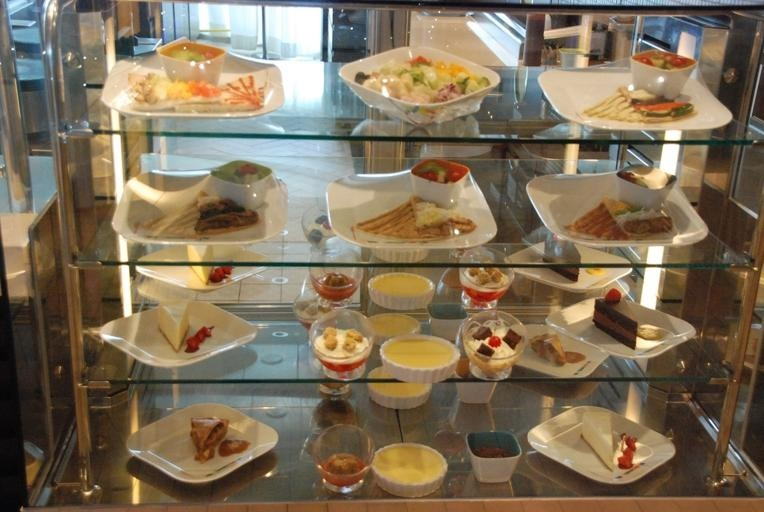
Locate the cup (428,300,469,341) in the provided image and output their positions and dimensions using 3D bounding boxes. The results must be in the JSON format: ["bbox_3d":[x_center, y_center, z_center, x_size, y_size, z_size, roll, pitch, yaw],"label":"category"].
[{"bbox_3d":[0.210,0.212,1.931,0.106,0.124,0.088,1,-67,-2],"label":"cup"}]

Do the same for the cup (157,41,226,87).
[{"bbox_3d":[-0.489,-0.501,1.510,0.154,0.108,0.076,9,-48,7],"label":"cup"}]

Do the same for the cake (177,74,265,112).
[{"bbox_3d":[-0.391,-0.407,1.512,0.141,0.126,0.039,-3,-56,-10],"label":"cake"}]

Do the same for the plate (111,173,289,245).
[{"bbox_3d":[-0.523,-0.117,1.662,0.336,0.269,0.055,0,-54,-10],"label":"plate"}]

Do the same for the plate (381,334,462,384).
[{"bbox_3d":[0.117,0.312,1.785,0.234,0.172,0.146,-9,-38,4],"label":"plate"}]

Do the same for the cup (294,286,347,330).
[{"bbox_3d":[-0.228,0.171,1.983,0.135,0.126,0.083,-7,-56,-9],"label":"cup"}]

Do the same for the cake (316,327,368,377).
[{"bbox_3d":[-0.117,0.286,1.749,0.158,0.151,0.090,-1,-67,-3],"label":"cake"}]

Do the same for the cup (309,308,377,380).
[{"bbox_3d":[-0.118,0.262,1.770,0.206,0.204,0.167,2,-61,-1],"label":"cup"}]

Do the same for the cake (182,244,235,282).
[{"bbox_3d":[-0.567,0.026,1.914,0.139,0.118,0.205,3,-37,-11],"label":"cake"}]

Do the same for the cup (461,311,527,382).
[{"bbox_3d":[0.335,0.261,1.831,0.196,0.202,0.169,2,-62,5],"label":"cup"}]

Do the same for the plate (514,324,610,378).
[{"bbox_3d":[0.574,0.318,1.869,0.215,0.171,0.033,19,-53,11],"label":"plate"}]

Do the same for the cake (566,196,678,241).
[{"bbox_3d":[0.667,-0.098,1.648,0.217,0.143,0.040,1,-59,12],"label":"cake"}]

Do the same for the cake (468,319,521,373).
[{"bbox_3d":[0.322,0.256,1.808,0.151,0.158,0.151,15,-59,24],"label":"cake"}]

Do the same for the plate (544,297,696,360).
[{"bbox_3d":[0.754,0.240,1.896,0.287,0.288,0.046,-25,-59,-39],"label":"plate"}]

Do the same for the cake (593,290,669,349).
[{"bbox_3d":[0.784,0.187,1.928,0.130,0.238,0.143,-10,-62,-12],"label":"cake"}]

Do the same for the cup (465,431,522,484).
[{"bbox_3d":[0.351,0.624,1.854,0.136,0.167,0.082,0,-81,0],"label":"cup"}]

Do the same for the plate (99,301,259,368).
[{"bbox_3d":[-0.627,0.171,1.803,0.281,0.294,0.037,-23,-52,-50],"label":"plate"}]

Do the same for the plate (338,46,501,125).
[{"bbox_3d":[0.079,-0.453,1.529,0.285,0.306,0.088,-22,-53,-38],"label":"plate"}]

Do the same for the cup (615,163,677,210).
[{"bbox_3d":[0.741,-0.199,1.665,0.122,0.142,0.071,4,-67,5],"label":"cup"}]

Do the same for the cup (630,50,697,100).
[{"bbox_3d":[0.725,-0.477,1.553,0.145,0.144,0.096,2,-56,-1],"label":"cup"}]

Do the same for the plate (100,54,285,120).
[{"bbox_3d":[-0.469,-0.409,1.500,0.307,0.238,0.043,1,-55,-6],"label":"plate"}]

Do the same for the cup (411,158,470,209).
[{"bbox_3d":[0.157,-0.214,1.727,0.132,0.156,0.098,3,-63,-3],"label":"cup"}]

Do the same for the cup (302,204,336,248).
[{"bbox_3d":[-0.186,-0.087,1.748,0.117,0.113,0.066,-11,-48,-10],"label":"cup"}]

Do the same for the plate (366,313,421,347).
[{"bbox_3d":[0.029,0.240,1.948,0.112,0.108,0.034,-15,-60,-25],"label":"plate"}]

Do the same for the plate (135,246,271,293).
[{"bbox_3d":[-0.595,0.030,1.898,0.284,0.240,0.083,-5,-68,-38],"label":"plate"}]

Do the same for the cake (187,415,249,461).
[{"bbox_3d":[-0.530,0.583,1.856,0.136,0.138,0.061,-4,-72,-14],"label":"cake"}]

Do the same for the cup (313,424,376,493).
[{"bbox_3d":[-0.116,0.608,1.827,0.181,0.177,0.114,1,-64,-3],"label":"cup"}]
